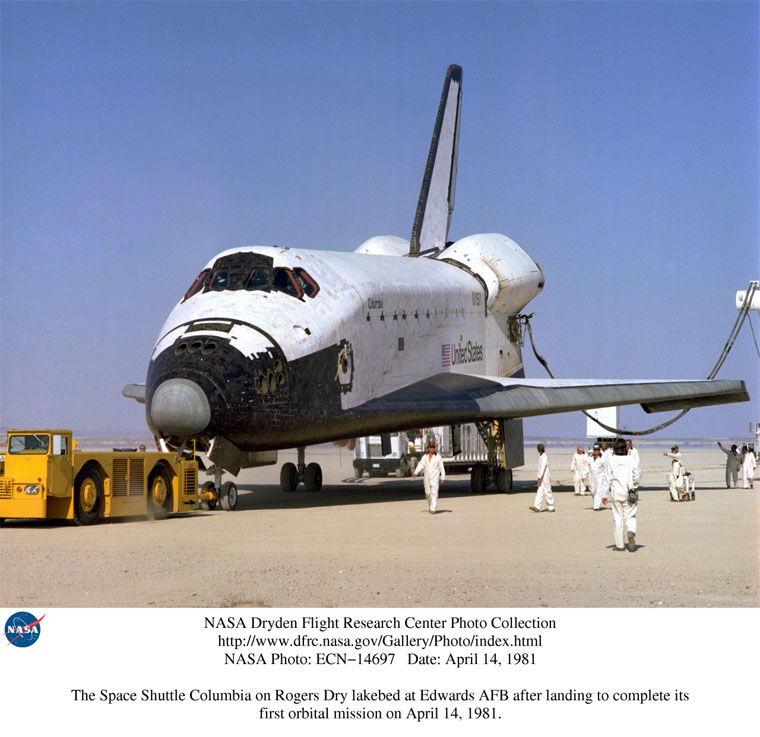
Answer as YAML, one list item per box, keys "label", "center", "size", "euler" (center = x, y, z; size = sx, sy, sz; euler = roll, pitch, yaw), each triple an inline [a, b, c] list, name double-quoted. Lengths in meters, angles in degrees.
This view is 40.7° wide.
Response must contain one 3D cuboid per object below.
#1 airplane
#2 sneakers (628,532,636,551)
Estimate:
- label: "airplane"
  center: [-0.153, -0.384, 20.183]
  size: [8.395, 7.094, 11.620]
  euler: [-4, -5, 19]
- label: "sneakers"
  center: [2.911, 1.990, 11.861]
  size: [0.054, 0.195, 0.123]
  euler: [-5, 10, 2]
